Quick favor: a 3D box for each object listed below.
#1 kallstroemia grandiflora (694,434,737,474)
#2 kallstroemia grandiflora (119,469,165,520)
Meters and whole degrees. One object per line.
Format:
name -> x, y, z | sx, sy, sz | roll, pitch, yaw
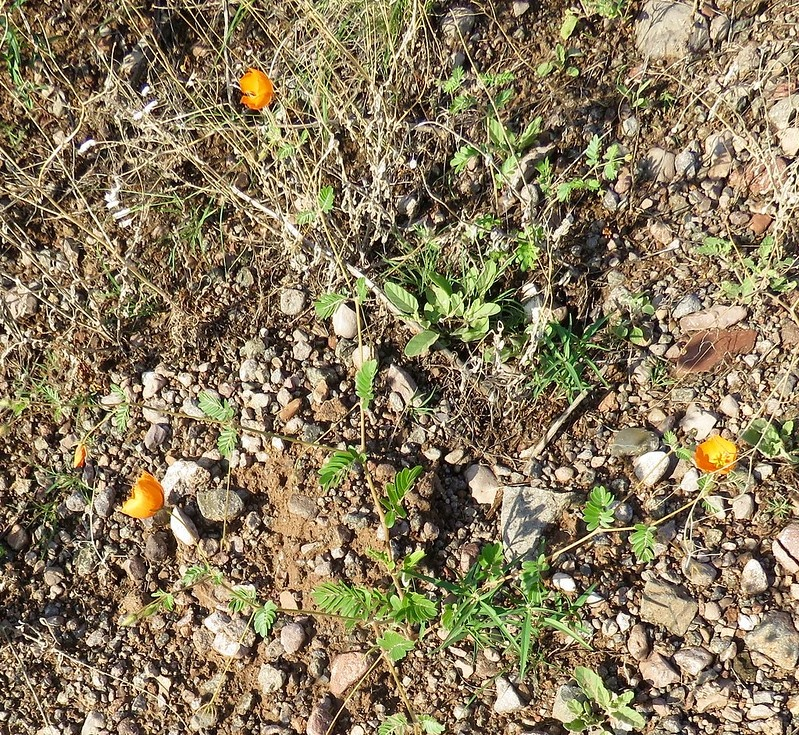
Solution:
kallstroemia grandiflora -> 0.924, 0.256, 2.335 | 0.070, 0.082, 0.090 | 32, 90, -5
kallstroemia grandiflora -> -0.782, 0.392, 2.454 | 0.120, 0.130, 0.126 | 37, 85, -8
